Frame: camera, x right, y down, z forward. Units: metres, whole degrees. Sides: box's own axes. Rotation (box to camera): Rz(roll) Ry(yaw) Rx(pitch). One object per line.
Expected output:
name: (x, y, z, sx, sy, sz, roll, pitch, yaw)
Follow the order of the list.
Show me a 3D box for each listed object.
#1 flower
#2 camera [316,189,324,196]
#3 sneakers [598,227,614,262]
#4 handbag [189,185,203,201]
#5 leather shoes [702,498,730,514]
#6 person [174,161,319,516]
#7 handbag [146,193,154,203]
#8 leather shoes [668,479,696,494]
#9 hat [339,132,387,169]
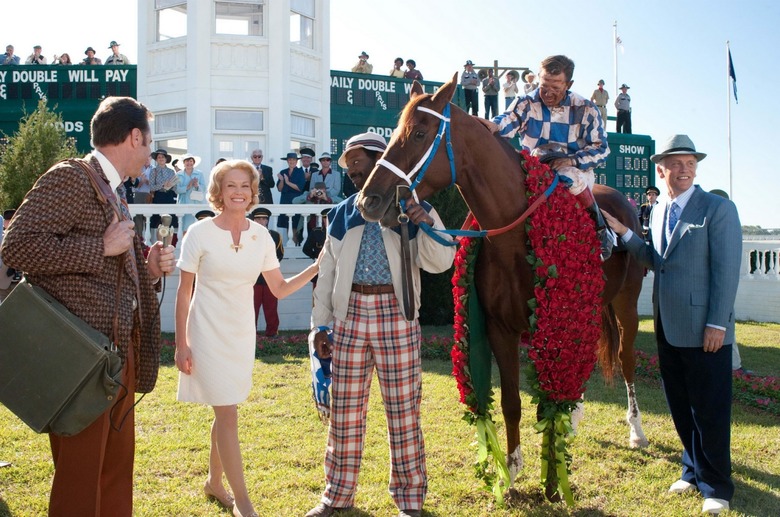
flower: (1.202, 0.606, 7.710, 1.243, 2.940, 0.768, 3, 10, 13)
camera: (-1.146, -1.069, 14.280, 0.070, 0.087, 0.084, 4, 0, -5)
sneakers: (1.970, -0.137, 8.038, 0.193, 0.284, 0.282, -2, -7, 5)
handbag: (-3.062, -0.992, 14.000, 0.187, 0.217, 0.067, 10, 9, 1)
leather shoes: (2.808, 2.130, 7.607, 0.142, 0.122, 0.157, 0, -4, 4)
person: (-1.380, 0.648, 7.616, 0.724, 2.924, 0.766, 4, 10, 19)
handbag: (-3.789, -0.942, 13.949, 0.093, 0.106, 0.122, 0, -14, -1)
leather shoes: (2.606, 2.031, 7.908, 0.177, 0.082, 0.112, -18, 30, 14)
hat: (-0.223, -0.955, 7.651, 0.349, 0.211, 0.286, -6, -3, -9)
